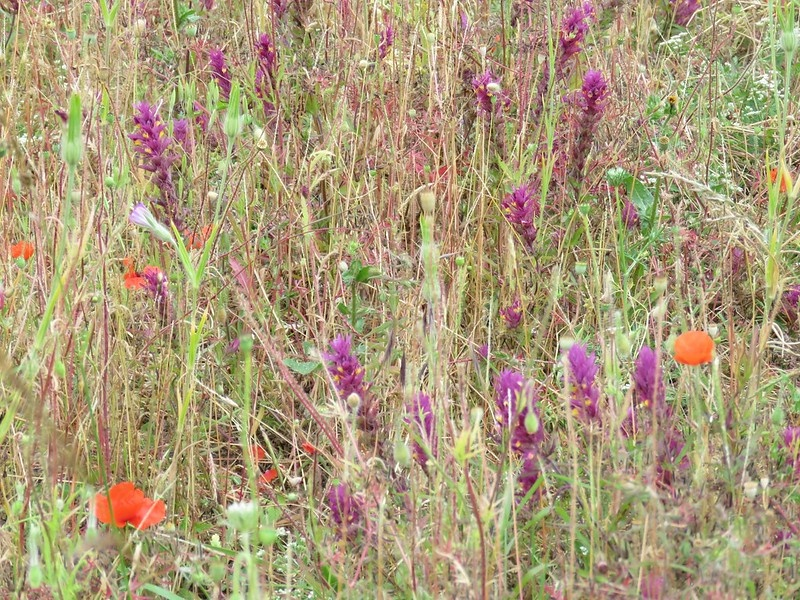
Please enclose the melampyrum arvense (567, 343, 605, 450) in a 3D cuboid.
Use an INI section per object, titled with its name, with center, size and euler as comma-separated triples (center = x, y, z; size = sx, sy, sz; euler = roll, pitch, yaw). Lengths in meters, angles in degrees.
[melampyrum arvense]
center = 0.433, 0.202, 2.198
size = 0.086, 0.356, 0.079
euler = 15, 22, 40
